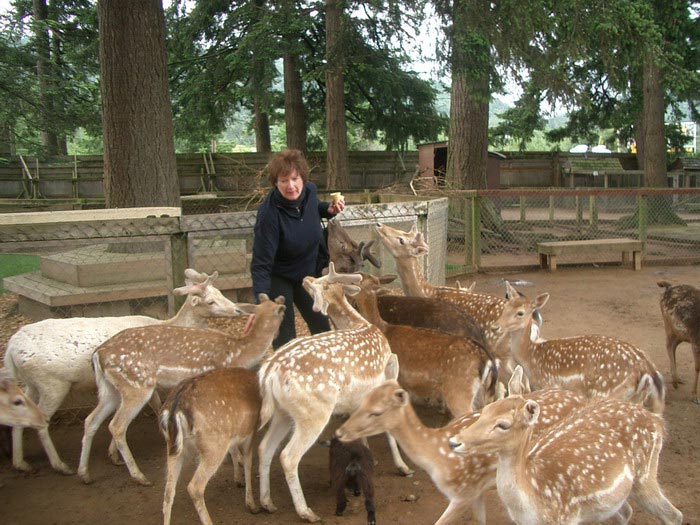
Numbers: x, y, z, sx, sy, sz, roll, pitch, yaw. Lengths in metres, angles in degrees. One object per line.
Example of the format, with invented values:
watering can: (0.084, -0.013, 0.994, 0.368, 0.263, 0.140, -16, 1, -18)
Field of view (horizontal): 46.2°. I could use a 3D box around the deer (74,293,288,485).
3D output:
deer: (-1.744, 1.485, 9.215, 2.465, 2.171, 0.814, -6, -25, -30)
